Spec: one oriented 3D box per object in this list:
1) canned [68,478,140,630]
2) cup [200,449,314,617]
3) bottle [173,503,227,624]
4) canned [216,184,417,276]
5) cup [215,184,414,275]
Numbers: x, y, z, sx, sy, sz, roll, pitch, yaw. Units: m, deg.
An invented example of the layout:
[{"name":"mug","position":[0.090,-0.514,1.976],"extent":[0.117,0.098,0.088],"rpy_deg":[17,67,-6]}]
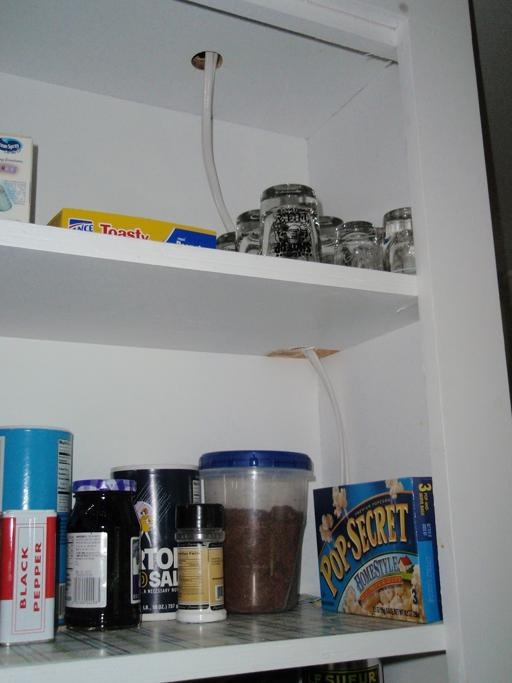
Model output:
[{"name":"canned","position":[-0.163,0.228,0.687],"extent":[0.078,0.153,0.056],"rpy_deg":[1,-9,-15]},{"name":"cup","position":[-0.017,0.264,0.865],"extent":[0.176,0.192,0.173],"rpy_deg":[-2,-16,-1]},{"name":"bottle","position":[-0.063,0.250,0.719],"extent":[0.054,0.128,0.035],"rpy_deg":[0,-9,-7]},{"name":"canned","position":[0.087,-0.121,0.836],"extent":[0.194,0.062,0.138],"rpy_deg":[1,2,-25]},{"name":"cup","position":[0.089,-0.116,0.827],"extent":[0.191,0.062,0.140],"rpy_deg":[-2,4,-42]}]
